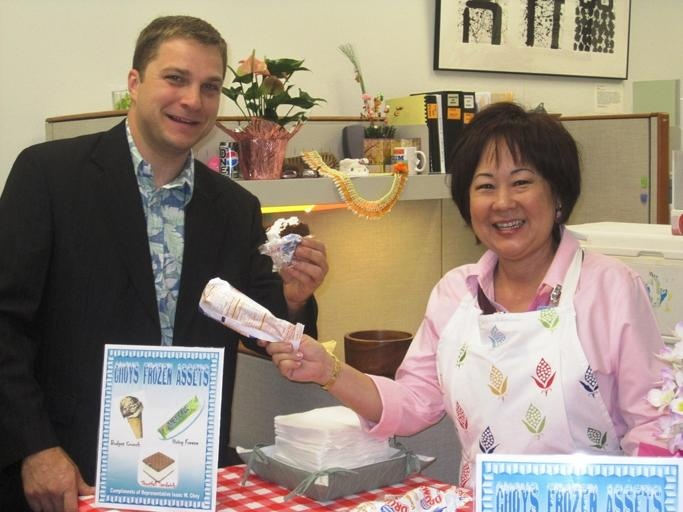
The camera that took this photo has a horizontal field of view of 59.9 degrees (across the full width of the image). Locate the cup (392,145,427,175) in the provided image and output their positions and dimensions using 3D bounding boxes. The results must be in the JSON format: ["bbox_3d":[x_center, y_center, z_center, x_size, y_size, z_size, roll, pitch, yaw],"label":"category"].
[{"bbox_3d":[0.331,-0.458,2.832,0.178,0.137,0.104,3,-1,6],"label":"cup"}]

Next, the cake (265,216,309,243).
[{"bbox_3d":[-0.159,-0.069,1.567,0.083,0.024,0.086,-20,-27,23],"label":"cake"}]

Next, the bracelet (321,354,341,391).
[{"bbox_3d":[-0.019,0.286,1.444,0.027,0.073,0.062,8,-7,-6],"label":"bracelet"}]

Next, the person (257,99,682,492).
[{"bbox_3d":[0.448,0.102,1.451,0.650,0.960,0.389,5,11,36],"label":"person"}]

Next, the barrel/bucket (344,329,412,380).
[{"bbox_3d":[0.147,0.360,2.251,0.175,0.141,0.183,1,-2,0],"label":"barrel/bucket"}]
